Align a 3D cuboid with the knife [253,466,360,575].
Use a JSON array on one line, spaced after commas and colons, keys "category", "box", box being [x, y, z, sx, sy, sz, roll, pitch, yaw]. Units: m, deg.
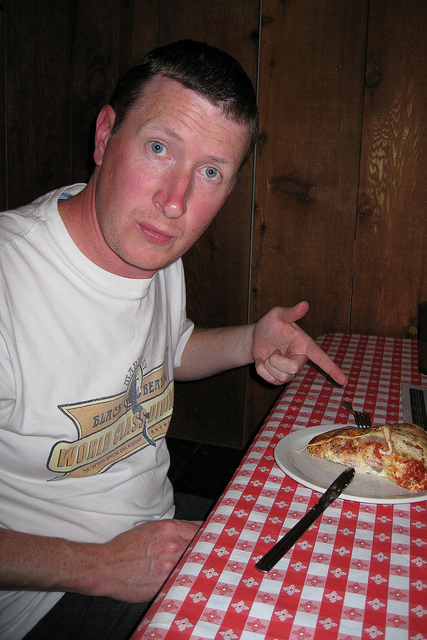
[{"category": "knife", "box": [0.161, 0.231, 0.714, 0.047, 0.018, 0.345, 21, 21, 35]}]
